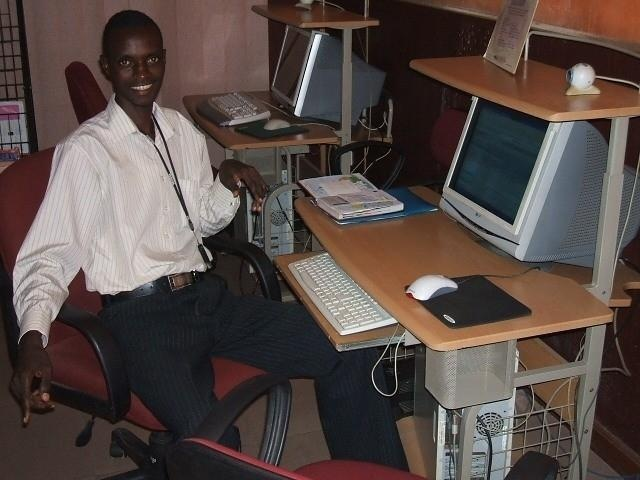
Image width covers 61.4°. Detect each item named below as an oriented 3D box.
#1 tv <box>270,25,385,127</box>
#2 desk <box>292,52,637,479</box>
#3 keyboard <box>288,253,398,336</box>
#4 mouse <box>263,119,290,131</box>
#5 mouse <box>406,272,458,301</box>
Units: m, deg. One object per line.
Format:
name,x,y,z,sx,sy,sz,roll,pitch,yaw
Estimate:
tv,0.033,-0.953,3.405,0.665,0.509,0.663,0,44,-17
desk,0.520,0.220,1.860,0.911,1.477,0.962,-18,33,-33
keyboard,0.040,0.224,1.761,0.204,0.041,0.356,-11,32,-19
mouse,-0.240,-0.637,2.976,0.117,0.037,0.068,-13,32,-27
mouse,0.319,0.120,1.545,0.118,0.038,0.071,-13,28,-25
